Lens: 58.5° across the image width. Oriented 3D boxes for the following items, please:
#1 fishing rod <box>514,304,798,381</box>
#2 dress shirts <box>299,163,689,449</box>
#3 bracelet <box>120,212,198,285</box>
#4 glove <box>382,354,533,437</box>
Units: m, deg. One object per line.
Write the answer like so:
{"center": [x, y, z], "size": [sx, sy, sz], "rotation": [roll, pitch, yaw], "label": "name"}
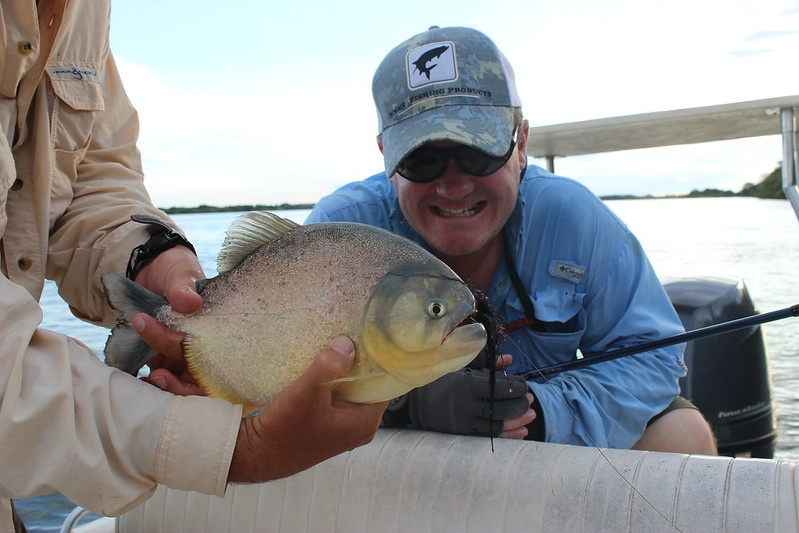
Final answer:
{"center": [1.483, 0.452, 4.303], "size": [1.609, 0.145, 0.131], "rotation": [-16, -32, 8], "label": "fishing rod"}
{"center": [0.823, 0.506, 4.748], "size": [1.883, 1.814, 1.542], "rotation": [-13, 51, 6], "label": "dress shirts"}
{"center": [-1.152, -0.116, 3.362], "size": [0.358, 0.258, 0.152], "rotation": [-22, 27, -38], "label": "bracelet"}
{"center": [0.350, 0.609, 3.708], "size": [0.195, 0.355, 0.889], "rotation": [-27, -6, -5], "label": "glove"}
